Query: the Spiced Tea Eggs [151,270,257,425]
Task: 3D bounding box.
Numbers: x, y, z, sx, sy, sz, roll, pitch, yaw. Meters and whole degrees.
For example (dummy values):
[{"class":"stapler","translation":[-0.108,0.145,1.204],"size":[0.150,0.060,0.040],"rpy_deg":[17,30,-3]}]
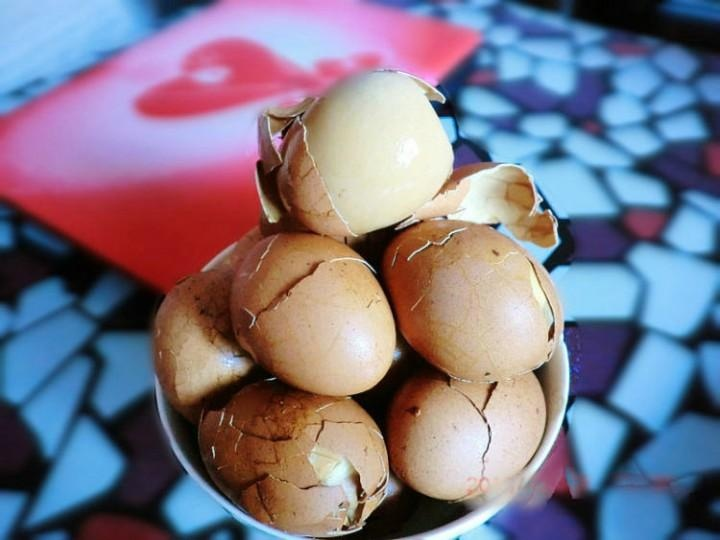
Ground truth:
[{"class":"Spiced Tea Eggs","translation":[-0.240,0.116,1.120],"size":[0.154,0.108,0.199],"rpy_deg":[10,78,-34]}]
